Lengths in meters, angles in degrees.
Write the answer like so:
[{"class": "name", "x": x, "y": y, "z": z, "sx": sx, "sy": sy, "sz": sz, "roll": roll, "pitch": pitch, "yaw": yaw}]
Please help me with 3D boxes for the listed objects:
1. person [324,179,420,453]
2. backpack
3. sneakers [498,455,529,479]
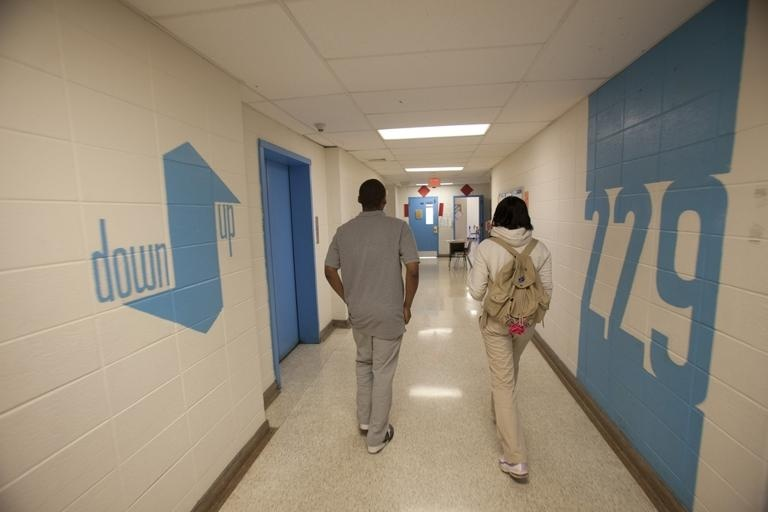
[{"class": "person", "x": -0.095, "y": 0.443, "z": 3.203, "sx": 0.627, "sy": 2.057, "sz": 0.394, "roll": 7, "pitch": 9, "yaw": 38}, {"class": "backpack", "x": 0.954, "y": 0.208, "z": 2.968, "sx": 0.413, "sy": 0.650, "sz": 0.395, "roll": -1, "pitch": 15, "yaw": -6}, {"class": "sneakers", "x": 0.902, "y": 1.470, "z": 2.889, "sx": 0.084, "sy": 0.099, "sz": 0.221, "roll": -2, "pitch": 11, "yaw": -11}]
